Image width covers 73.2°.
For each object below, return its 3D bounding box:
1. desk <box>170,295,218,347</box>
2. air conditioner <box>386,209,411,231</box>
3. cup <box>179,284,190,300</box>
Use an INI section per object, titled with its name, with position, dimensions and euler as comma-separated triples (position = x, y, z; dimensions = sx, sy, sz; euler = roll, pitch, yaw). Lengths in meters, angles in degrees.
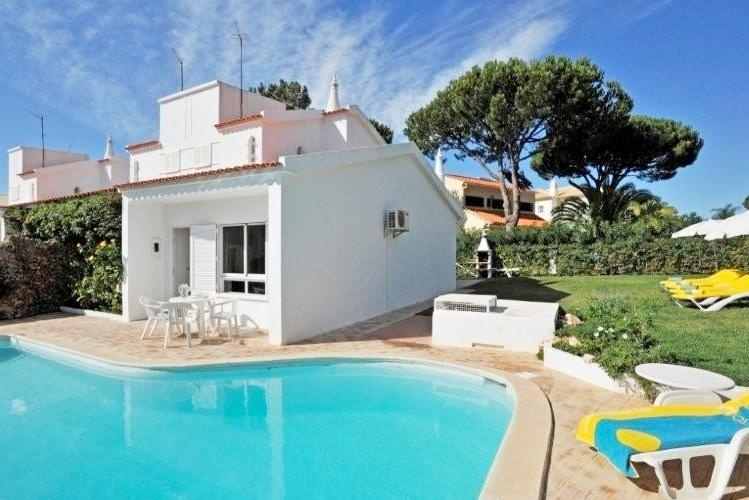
[desk]
position = -5.924, 2.233, 16.459
dimensions = 1.126, 1.409, 1.966
euler = -2, -2, -11
[air conditioner]
position = 0.854, -1.146, 19.241
dimensions = 0.945, 0.801, 0.431
euler = -1, -3, -30
[cup]
position = -6.879, 1.503, 18.135
dimensions = 0.415, 0.460, 0.449
euler = -2, -3, 0
